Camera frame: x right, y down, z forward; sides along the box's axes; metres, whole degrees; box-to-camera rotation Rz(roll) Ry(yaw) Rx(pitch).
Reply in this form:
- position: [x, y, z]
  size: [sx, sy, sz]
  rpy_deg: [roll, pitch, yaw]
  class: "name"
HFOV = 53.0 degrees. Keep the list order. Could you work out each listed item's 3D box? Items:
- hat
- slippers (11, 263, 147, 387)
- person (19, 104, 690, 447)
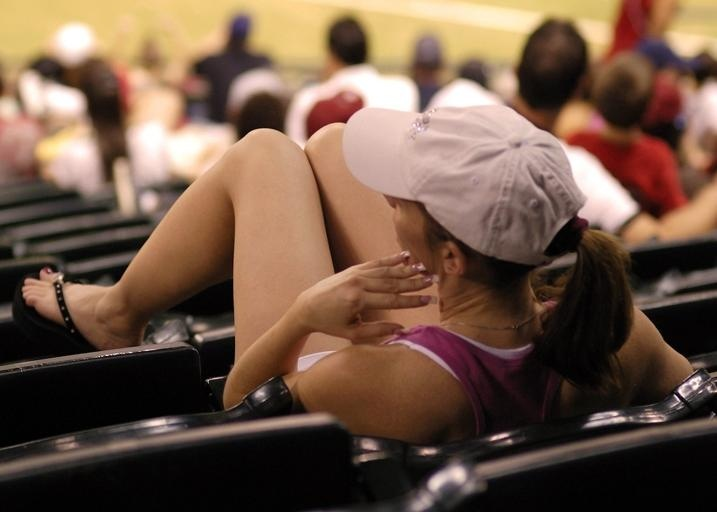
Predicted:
- position: [0.173, -0.134, 1.314]
  size: [0.394, 0.160, 0.260]
  rpy_deg: [29, 61, 11]
  class: "hat"
- position: [-0.694, 0.169, 1.853]
  size: [0.309, 0.181, 0.117]
  rpy_deg: [18, 1, 8]
  class: "slippers"
- position: [-0.084, 0.018, 1.472]
  size: [0.621, 0.583, 1.032]
  rpy_deg: [-22, 41, -36]
  class: "person"
